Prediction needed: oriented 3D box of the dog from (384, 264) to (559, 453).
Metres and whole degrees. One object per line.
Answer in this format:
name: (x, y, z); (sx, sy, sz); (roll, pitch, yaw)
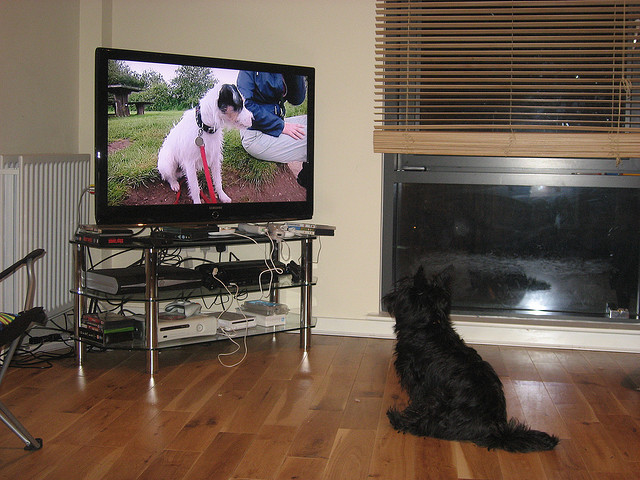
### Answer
dog: (0.614, 0.528, 2.350); (0.889, 0.633, 0.379); (14, 7, 43)

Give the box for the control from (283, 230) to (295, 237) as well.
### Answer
control: (-0.181, -0.037, 3.282); (0.062, 0.039, 0.033); (2, -5, -40)

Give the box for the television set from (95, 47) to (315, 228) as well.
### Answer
television set: (-0.698, -0.593, 3.114); (1.219, 0.808, 0.094); (-3, 10, -23)

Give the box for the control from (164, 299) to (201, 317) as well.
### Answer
control: (-0.825, 0.417, 3.228); (0.132, 0.049, 0.129); (2, 2, 13)

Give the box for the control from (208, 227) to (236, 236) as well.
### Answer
control: (-0.577, -0.054, 3.229); (0.109, 0.035, 0.236); (3, 8, 13)

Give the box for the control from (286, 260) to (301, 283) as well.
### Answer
control: (-0.174, 0.206, 3.402); (0.094, 0.117, 0.089); (-6, 17, -26)
